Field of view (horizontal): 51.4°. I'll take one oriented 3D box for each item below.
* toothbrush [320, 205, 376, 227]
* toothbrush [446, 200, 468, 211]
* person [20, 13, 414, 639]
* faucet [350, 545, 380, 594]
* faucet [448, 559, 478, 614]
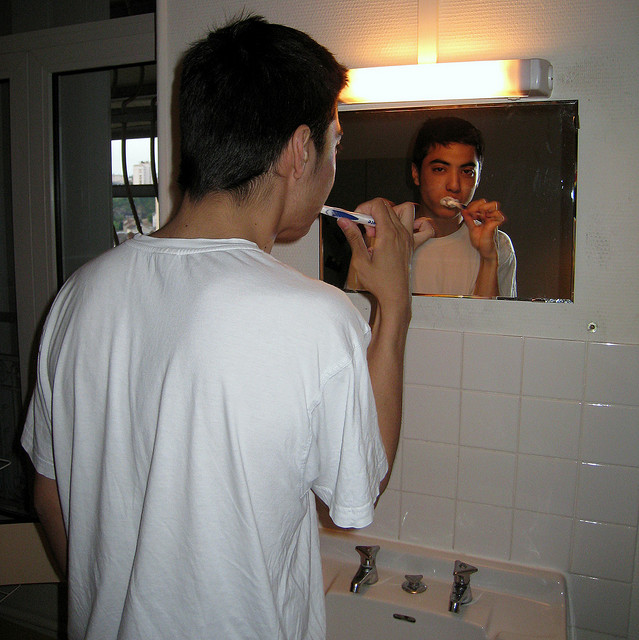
[{"bbox_3d":[0.055,-0.186,1.180,0.118,0.032,0.096,4,12,25],"label":"toothbrush"},{"bbox_3d":[0.273,-0.230,1.318,0.044,0.016,0.016,29,19,23],"label":"toothbrush"},{"bbox_3d":[-0.159,0.039,0.905,0.572,0.844,0.307,0,9,5],"label":"person"},{"bbox_3d":[0.092,0.511,1.356,0.041,0.071,0.091,-1,5,33],"label":"faucet"},{"bbox_3d":[0.274,0.518,1.296,0.058,0.110,0.057,0,3,-5],"label":"faucet"}]
